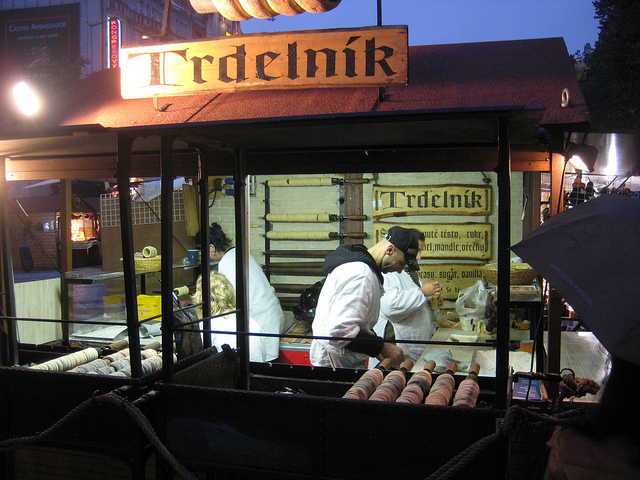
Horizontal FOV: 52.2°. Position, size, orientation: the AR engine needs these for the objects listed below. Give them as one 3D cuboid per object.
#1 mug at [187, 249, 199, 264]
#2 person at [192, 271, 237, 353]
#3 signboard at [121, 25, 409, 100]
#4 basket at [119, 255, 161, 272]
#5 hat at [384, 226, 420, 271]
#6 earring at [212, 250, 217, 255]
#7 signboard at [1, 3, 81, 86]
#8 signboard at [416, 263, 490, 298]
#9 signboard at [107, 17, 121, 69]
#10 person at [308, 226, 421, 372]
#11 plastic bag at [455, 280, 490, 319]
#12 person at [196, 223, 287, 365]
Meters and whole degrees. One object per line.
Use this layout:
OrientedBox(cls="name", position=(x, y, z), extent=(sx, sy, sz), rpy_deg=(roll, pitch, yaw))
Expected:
OrientedBox(cls="mug", position=(-1.950, 0.239, 9.930), extent=(0.182, 0.203, 0.188), rpy_deg=(2, 1, 37))
OrientedBox(cls="person", position=(-1.142, 0.732, 7.088), extent=(0.475, 0.806, 1.455), rpy_deg=(0, 2, -11))
OrientedBox(cls="signboard", position=(-0.551, -1.659, 6.038), extent=(2.719, 0.560, 0.201), rpy_deg=(1, 1, 12))
OrientedBox(cls="basket", position=(-2.378, 0.332, 8.817), extent=(0.274, 0.215, 0.552), rpy_deg=(1, 2, 24))
OrientedBox(cls="hat", position=(0.907, 0.023, 6.978), extent=(0.461, 0.272, 0.324), rpy_deg=(35, 13, -8))
OrientedBox(cls="earring", position=(-1.466, 0.157, 9.084), extent=(0.040, 0.060, 0.015), rpy_deg=(-2, 0, -1))
OrientedBox(cls="signboard", position=(-16.760, -11.779, 38.460), extent=(5.013, 4.475, 1.086), rpy_deg=(1, 1, 13))
OrientedBox(cls="signboard", position=(2.268, 0.604, 11.345), extent=(1.849, 0.454, 0.261), rpy_deg=(2, 2, -36))
OrientedBox(cls="signboard", position=(-6.524, -6.232, 20.603), extent=(0.446, 0.095, 2.078), rpy_deg=(-11, -33, -25))
OrientedBox(cls="person", position=(0.436, 0.640, 6.654), extent=(1.085, 1.557, 1.207), rpy_deg=(1, 1, 5))
OrientedBox(cls="plastic bag", position=(2.159, 0.817, 9.102), extent=(0.389, 0.155, 0.526), rpy_deg=(6, 31, 22))
OrientedBox(cls="person", position=(-1.106, 0.935, 8.717), extent=(1.098, 2.333, 0.903), rpy_deg=(-4, 15, 0))
